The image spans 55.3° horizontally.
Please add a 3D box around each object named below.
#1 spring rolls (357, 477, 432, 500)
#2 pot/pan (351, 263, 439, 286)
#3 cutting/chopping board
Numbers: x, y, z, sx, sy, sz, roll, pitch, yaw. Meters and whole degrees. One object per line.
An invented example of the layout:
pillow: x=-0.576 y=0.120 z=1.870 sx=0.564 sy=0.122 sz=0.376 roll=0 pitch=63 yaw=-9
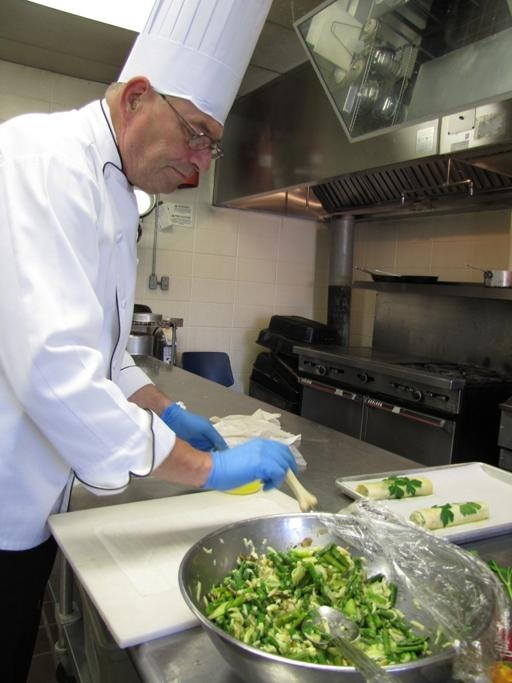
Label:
spring rolls: x=0.286 y=0.298 z=0.999 sx=0.146 sy=0.043 sz=0.087 roll=2 pitch=-4 yaw=-24
pot/pan: x=0.826 y=-0.382 z=2.935 sx=0.468 sy=0.062 sz=0.287 roll=5 pitch=3 yaw=29
cutting/chopping board: x=-0.115 y=0.276 z=0.748 sx=0.313 sy=0.102 sz=0.355 roll=-2 pitch=7 yaw=-27
